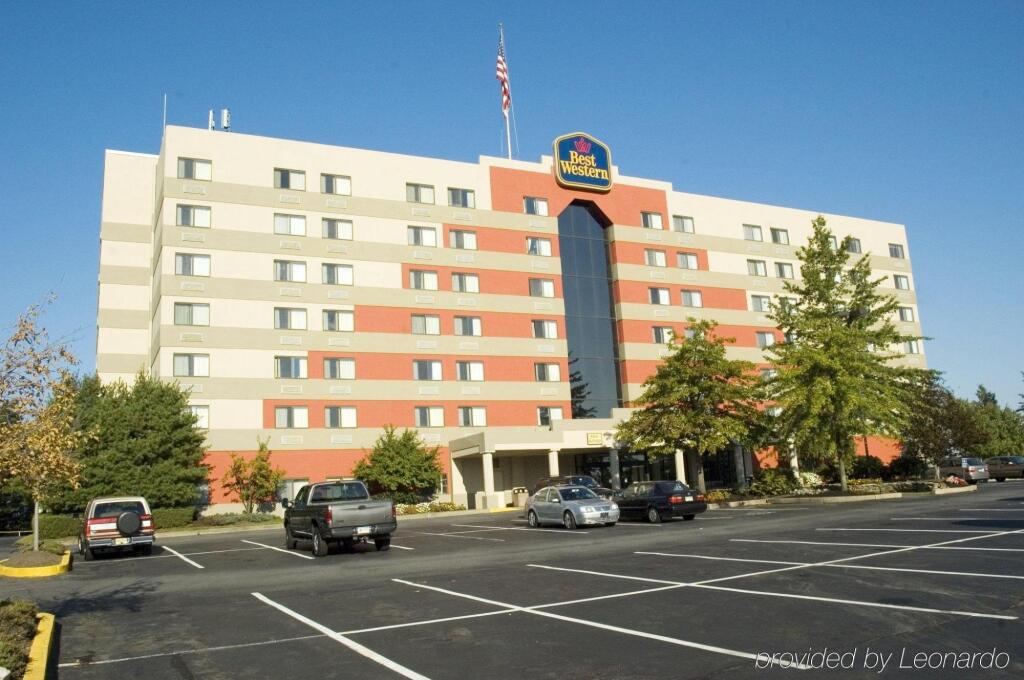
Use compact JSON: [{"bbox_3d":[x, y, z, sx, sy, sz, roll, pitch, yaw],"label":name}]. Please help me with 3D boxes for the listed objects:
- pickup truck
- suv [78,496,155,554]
[{"bbox_3d":[-5.839,5.892,26.353,2.062,2.417,3.661,8,-17,-43],"label":"pickup truck"},{"bbox_3d":[-14.208,6.615,28.394,1.941,1.410,3.448,2,-4,-27],"label":"suv"}]
